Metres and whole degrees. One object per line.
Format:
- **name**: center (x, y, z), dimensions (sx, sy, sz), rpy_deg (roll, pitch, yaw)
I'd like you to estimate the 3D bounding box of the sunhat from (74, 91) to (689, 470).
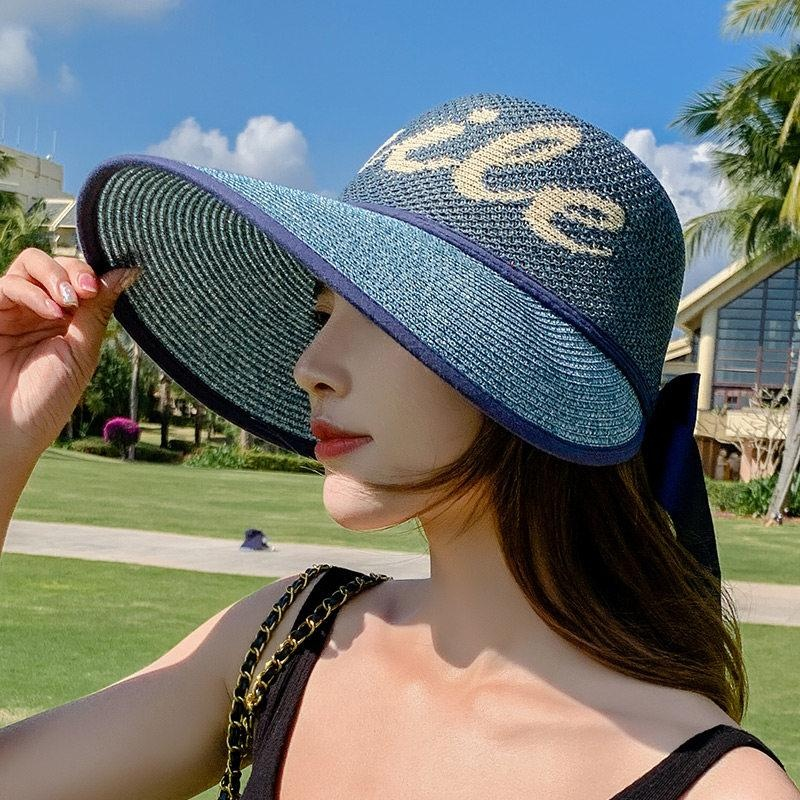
- **sunhat**: center (0.010, -0.207, 1.479), dimensions (0.917, 0.391, 0.703), rpy_deg (22, -16, -29)
